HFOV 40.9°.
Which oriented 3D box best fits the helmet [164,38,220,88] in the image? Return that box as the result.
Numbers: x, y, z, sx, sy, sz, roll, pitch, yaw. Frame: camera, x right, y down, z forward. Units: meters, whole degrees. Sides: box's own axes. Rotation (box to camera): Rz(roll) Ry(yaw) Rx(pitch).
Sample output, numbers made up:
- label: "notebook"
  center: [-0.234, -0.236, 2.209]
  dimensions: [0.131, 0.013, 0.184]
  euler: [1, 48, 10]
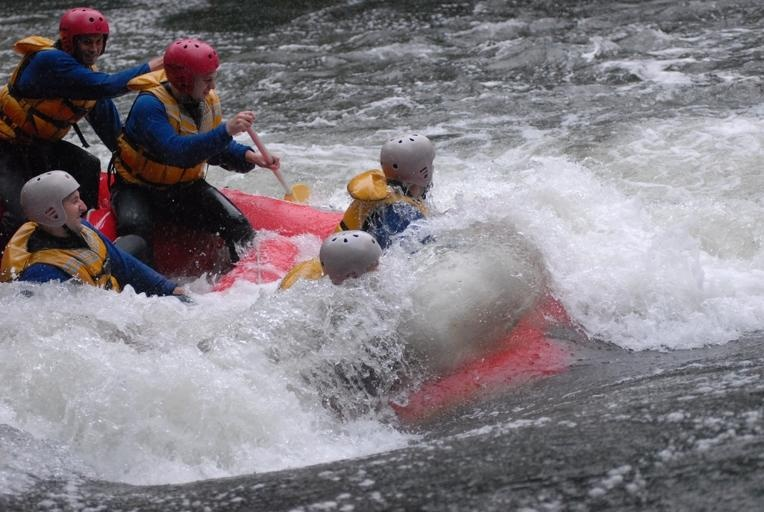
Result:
- label: "helmet"
  center: [-1.369, -1.446, 7.618]
  dimensions: [0.502, 0.282, 0.309]
  euler: [11, 32, 23]

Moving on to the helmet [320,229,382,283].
- label: "helmet"
  center: [-0.260, -0.005, 7.132]
  dimensions: [0.499, 0.283, 0.351]
  euler: [-17, 22, -35]

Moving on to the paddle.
- label: "paddle"
  center: [-0.932, -0.743, 8.566]
  dimensions: [0.343, 0.809, 0.064]
  euler: [-37, 14, 28]

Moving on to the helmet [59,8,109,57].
- label: "helmet"
  center: [-2.325, -1.774, 7.922]
  dimensions: [0.445, 0.270, 0.319]
  euler: [22, 25, 27]

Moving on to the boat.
- label: "boat"
  center: [-0.385, 0.294, 7.609]
  dimensions: [3.598, 0.483, 1.778]
  euler: [11, 27, 25]

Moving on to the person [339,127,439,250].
- label: "person"
  center: [0.071, -0.490, 7.563]
  dimensions: [0.866, 0.656, 0.506]
  euler: [-31, 40, -33]
